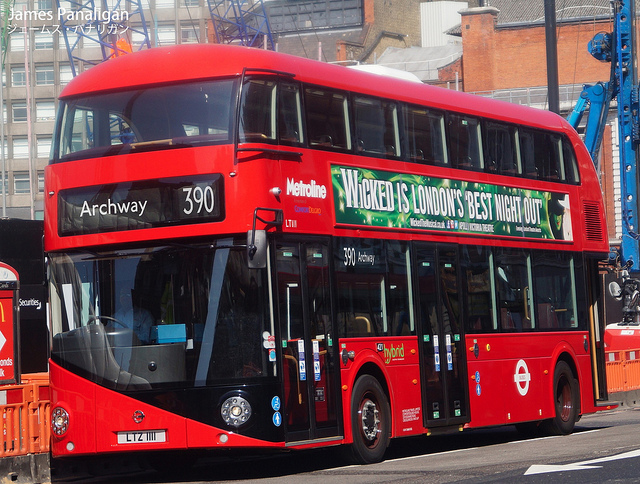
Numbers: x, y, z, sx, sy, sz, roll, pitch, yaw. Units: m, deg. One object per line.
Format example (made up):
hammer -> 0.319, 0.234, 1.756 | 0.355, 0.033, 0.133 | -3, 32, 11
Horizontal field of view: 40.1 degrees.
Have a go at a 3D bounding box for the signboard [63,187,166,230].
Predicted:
signboard -> -2.577, -0.412, 11.104 | 1.497, 0.561, 0.151 | -4, 0, -35

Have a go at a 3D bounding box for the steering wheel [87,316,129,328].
steering wheel -> -2.694, 1.003, 10.976 | 0.565, 0.119, 0.016 | -5, -2, 16

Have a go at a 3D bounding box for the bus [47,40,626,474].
bus -> 0.688, 0.661, 15.354 | 4.060, 5.830, 11.685 | -5, -8, 39

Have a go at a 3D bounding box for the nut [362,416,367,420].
nut -> 0.621, 2.404, 11.991 | 0.054, 0.021, 0.083 | 0, 1, 11

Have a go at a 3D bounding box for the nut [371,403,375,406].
nut -> 0.753, 2.258, 12.163 | 0.039, 0.028, 0.029 | 3, -6, -32

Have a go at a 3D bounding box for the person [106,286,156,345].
person -> -2.445, 0.919, 10.859 | 0.654, 0.796, 0.429 | 0, 1, -4

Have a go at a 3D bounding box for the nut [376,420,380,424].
nut -> 0.832, 2.522, 12.302 | 0.030, 0.032, 0.043 | 0, -2, 34

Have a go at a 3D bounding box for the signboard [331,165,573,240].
signboard -> 2.362, -0.684, 14.052 | 6.597, 1.044, 0.083 | 4, 6, -38
